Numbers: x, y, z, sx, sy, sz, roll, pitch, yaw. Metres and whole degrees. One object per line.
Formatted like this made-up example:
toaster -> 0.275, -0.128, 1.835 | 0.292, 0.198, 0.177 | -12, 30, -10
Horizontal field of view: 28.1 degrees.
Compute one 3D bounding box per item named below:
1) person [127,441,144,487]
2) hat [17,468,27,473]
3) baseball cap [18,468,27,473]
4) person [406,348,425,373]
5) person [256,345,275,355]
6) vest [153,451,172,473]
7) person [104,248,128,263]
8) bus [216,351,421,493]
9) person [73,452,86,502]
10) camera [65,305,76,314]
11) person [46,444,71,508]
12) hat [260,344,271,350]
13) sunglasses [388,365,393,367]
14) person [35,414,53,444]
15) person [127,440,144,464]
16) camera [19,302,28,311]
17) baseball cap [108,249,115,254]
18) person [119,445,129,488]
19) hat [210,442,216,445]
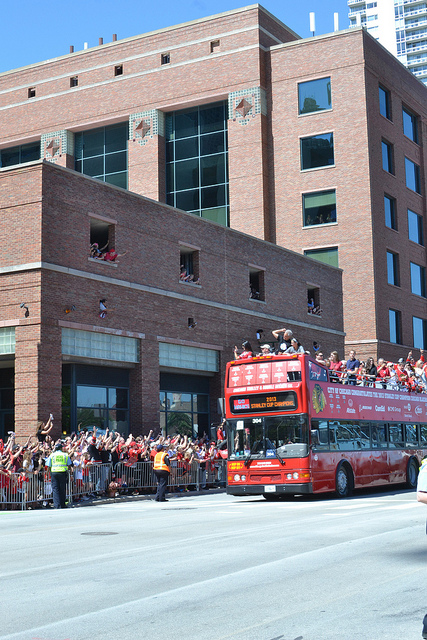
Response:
person -> -2.181, 3.955, 23.481 | 0.372, 1.218, 0.788 | -2, -10, -2
hat -> -4.418, 3.431, 19.572 | 0.103, 0.112, 0.131 | 0, -6, 10
baseball cap -> -4.412, 3.430, 19.576 | 0.112, 0.132, 0.140 | 1, -6, 11
person -> 8.984, 1.737, 38.230 | 1.119, 1.435, 0.738 | -1, -3, 4
person -> 1.675, 0.954, 28.215 | 0.725, 0.304, 0.953 | -5, -4, 26
vest -> -1.247, 3.561, 21.561 | 0.484, 0.477, 0.445 | -1, -9, 14
person -> -3.280, -2.128, 28.129 | 0.210, 0.539, 0.955 | -8, -11, 31
bus -> 3.327, 3.189, 23.887 | 2.840, 2.954, 7.981 | -11, -15, 36
person -> -3.303, 3.832, 21.102 | 0.433, 1.222, 0.373 | -1, -20, -8
camera -> -4.286, -0.335, 25.419 | 0.138, 0.152, 0.271 | -14, 5, 12
person -> -3.565, 3.540, 19.511 | 0.541, 1.432, 1.452 | 0, -10, -10
hat -> 1.356, 0.659, 22.346 | 0.262, 0.116, 0.162 | 8, -4, 2
sunglasses -> 5.638, 1.437, 27.314 | 0.098, 0.090, 0.171 | 6, 2, 15
person -> -4.483, 2.873, 22.491 | 0.416, 0.728, 2.108 | 0, -10, -12
person -> -2.168, 3.626, 23.548 | 0.455, 0.622, 0.908 | -1, -10, -5
camera -> -5.519, -0.424, 24.596 | 0.330, 0.220, 0.093 | -9, -12, 36
baseball cap -> -3.372, -2.300, 28.046 | 0.174, 0.080, 0.232 | -3, 7, -14
person -> -2.428, 3.939, 23.011 | 0.243, 1.111, 0.744 | -1, -10, -5
hat -> -0.053, 3.967, 27.541 | 0.229, 0.069, 0.242 | 5, -3, -29
